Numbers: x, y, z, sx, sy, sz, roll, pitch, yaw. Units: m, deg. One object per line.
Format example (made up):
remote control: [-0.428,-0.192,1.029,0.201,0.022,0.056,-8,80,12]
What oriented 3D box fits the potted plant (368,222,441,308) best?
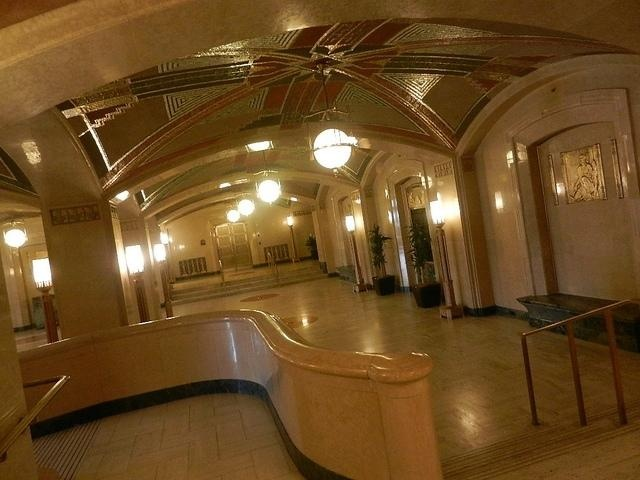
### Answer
potted plant: [2.205,0.646,11.615,0.838,1.828,2.145,-9,-2,-19]

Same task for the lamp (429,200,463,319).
lamp: [2.534,0.311,9.290,0.426,2.527,0.769,-8,-1,14]

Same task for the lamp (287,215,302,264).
lamp: [-1.378,-0.063,23.403,0.458,2.281,1.389,-7,-1,-4]
